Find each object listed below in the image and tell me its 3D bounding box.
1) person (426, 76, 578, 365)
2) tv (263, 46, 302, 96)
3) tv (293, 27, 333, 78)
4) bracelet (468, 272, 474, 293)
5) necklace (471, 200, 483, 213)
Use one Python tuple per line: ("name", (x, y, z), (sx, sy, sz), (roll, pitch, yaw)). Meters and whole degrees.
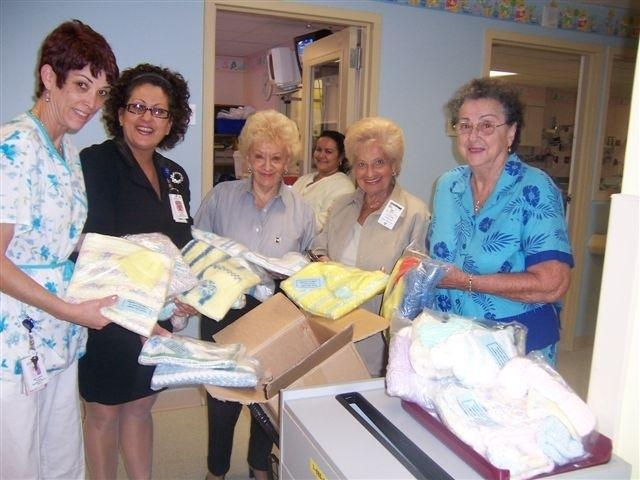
("person", (0.691, -0.090, 2.027), (0.520, 1.077, 0.521), (3, 8, 11))
("tv", (-0.413, -2.116, 6.453), (0.252, 0.547, 0.682), (-5, 9, -36))
("tv", (-0.095, -1.940, 5.370), (0.274, 0.459, 1.026), (-1, 7, -12))
("bracelet", (0.543, 0.152, 1.875), (0.018, 0.059, 0.028), (4, 8, 17))
("necklace", (0.623, -0.135, 2.058), (0.011, 0.043, 0.032), (-8, 29, -44))
